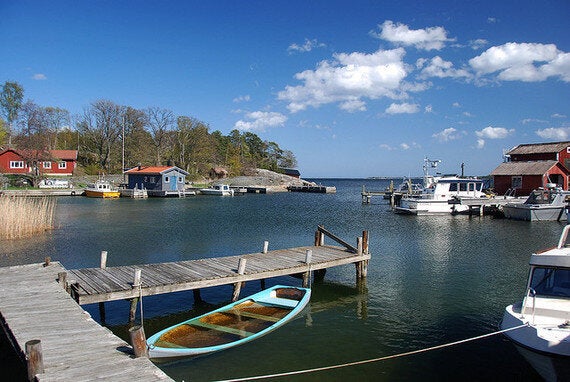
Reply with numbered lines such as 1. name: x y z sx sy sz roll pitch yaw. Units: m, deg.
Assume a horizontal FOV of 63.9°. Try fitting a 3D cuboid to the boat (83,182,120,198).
1. boat: -28.001 -0.125 68.267 5.500 1.917 2.459 2 3 31
